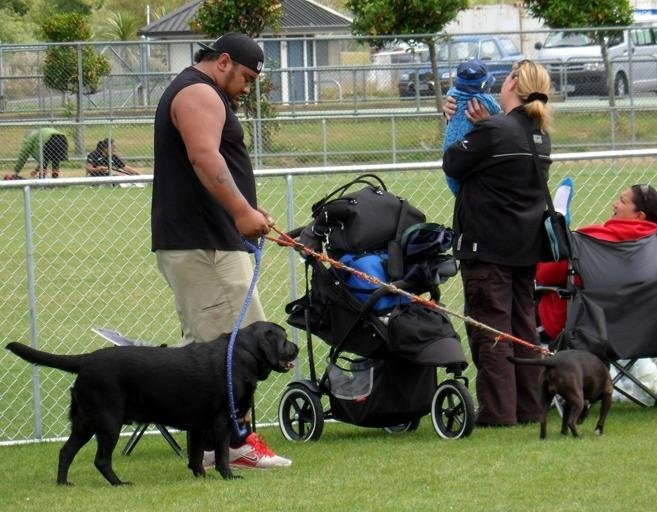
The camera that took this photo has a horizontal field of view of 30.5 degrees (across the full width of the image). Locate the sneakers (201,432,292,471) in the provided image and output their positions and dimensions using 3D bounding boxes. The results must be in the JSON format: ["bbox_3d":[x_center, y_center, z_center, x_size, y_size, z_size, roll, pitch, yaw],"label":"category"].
[{"bbox_3d":[-0.527,1.370,8.455,0.700,0.288,0.229,1,-2,-2],"label":"sneakers"}]

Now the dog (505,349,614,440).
[{"bbox_3d":[1.719,0.993,8.743,0.753,0.623,0.338,-4,1,-27],"label":"dog"}]

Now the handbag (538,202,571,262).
[{"bbox_3d":[1.682,-0.167,8.955,0.213,0.400,0.135,-3,2,8],"label":"handbag"}]

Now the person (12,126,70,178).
[{"bbox_3d":[-4.313,-1.566,17.988,0.826,0.657,1.226,-3,1,-13],"label":"person"}]

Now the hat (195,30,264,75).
[{"bbox_3d":[-0.670,-1.400,8.277,0.372,0.186,0.257,29,10,-8],"label":"hat"}]

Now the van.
[{"bbox_3d":[4.472,-3.092,19.097,2.166,1.132,1.153,1,-2,-42],"label":"van"}]
